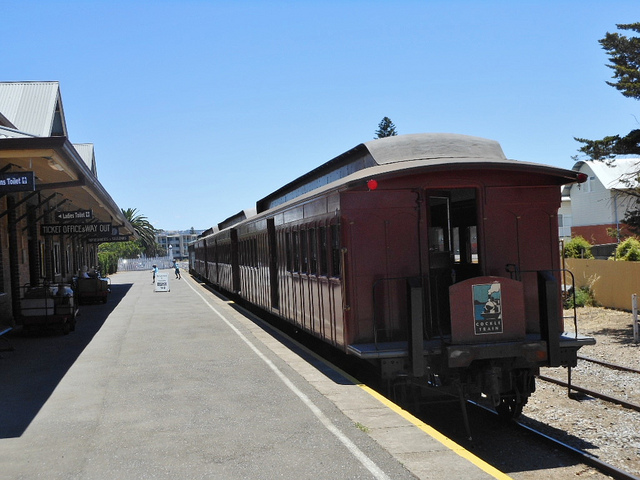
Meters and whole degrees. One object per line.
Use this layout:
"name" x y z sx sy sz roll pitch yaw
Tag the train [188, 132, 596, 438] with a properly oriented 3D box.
"train" -1.104 0.910 17.476 3.154 4.877 21.636 -5 0 -19
